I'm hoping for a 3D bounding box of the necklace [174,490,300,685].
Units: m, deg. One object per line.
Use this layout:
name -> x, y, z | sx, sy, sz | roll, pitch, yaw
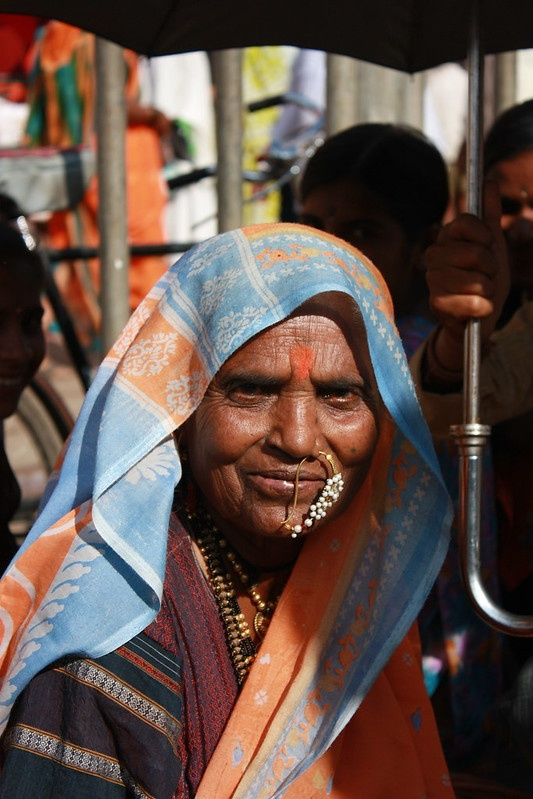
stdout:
necklace -> -0.106, 0.368, 1.955 | 0.080, 0.339, 0.228 | -40, -41, 21
